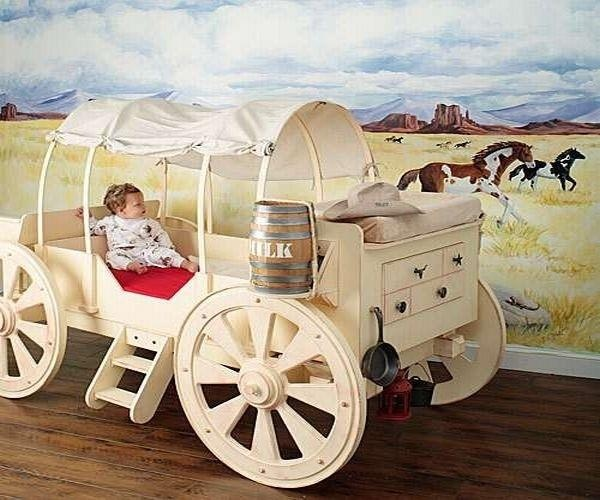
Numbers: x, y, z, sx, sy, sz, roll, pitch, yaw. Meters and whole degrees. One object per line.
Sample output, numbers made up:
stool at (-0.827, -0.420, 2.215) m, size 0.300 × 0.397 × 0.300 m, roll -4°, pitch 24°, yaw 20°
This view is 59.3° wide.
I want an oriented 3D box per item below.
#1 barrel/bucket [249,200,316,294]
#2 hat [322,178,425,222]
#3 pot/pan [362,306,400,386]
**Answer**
barrel/bucket at (-0.056, -0.005, 1.788) m, size 0.220 × 0.301 × 0.143 m, roll 1°, pitch 14°, yaw -1°
hat at (0.318, -0.212, 2.128) m, size 0.474 × 0.111 × 0.356 m, roll -6°, pitch 12°, yaw -6°
pot/pan at (0.295, 0.362, 1.934) m, size 0.073 × 0.312 × 0.187 m, roll 15°, pitch 19°, yaw 42°
